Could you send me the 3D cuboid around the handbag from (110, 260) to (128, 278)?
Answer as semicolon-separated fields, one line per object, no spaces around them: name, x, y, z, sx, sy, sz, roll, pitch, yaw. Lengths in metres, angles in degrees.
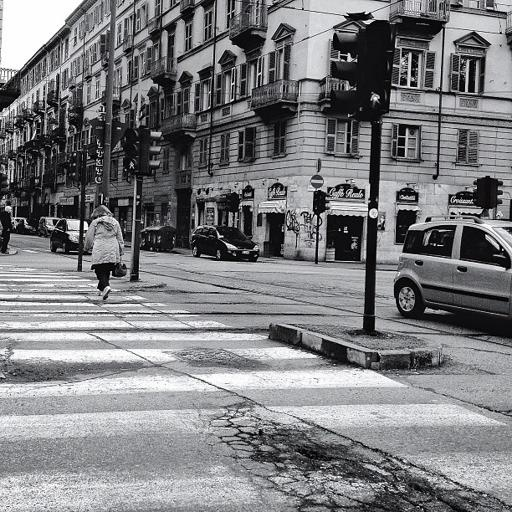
handbag;-2.305;0.207;14.087;0.185;0.299;0.281;1;-16;4

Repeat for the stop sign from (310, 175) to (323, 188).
stop sign;2.207;-2.757;30.808;0.394;0.454;0.873;2;1;7

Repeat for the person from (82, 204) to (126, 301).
person;-2.550;-0.109;14.105;0.634;1.165;1.809;2;1;-10

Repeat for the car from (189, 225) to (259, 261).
car;-1.228;-0.504;32.414;1.157;1.016;2.602;1;-1;-30

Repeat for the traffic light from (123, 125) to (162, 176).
traffic light;-2.188;-2.019;16.062;0.690;0.734;1.144;2;1;-9
